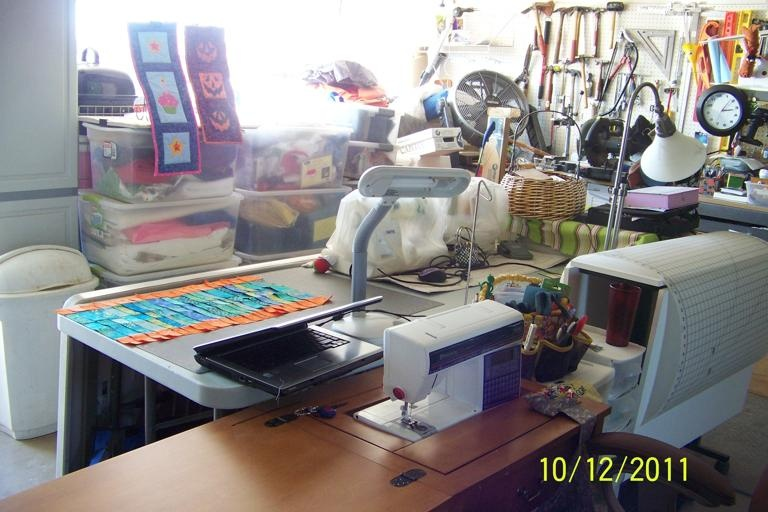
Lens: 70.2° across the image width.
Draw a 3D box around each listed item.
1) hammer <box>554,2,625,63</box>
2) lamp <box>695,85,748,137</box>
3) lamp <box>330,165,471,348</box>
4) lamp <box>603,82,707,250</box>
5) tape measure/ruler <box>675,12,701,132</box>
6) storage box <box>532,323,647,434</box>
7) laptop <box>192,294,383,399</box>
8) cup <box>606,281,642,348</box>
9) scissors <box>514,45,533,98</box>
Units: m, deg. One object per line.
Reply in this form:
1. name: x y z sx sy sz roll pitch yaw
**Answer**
1. hammer: 1.952 -2.174 5.255 0.649 0.555 0.257 8 21 24
2. lamp: 2.731 -1.169 4.378 0.395 0.374 0.094 -12 3 44
3. lamp: -0.008 -0.076 1.981 0.418 0.676 0.424 15 20 38
4. lamp: 1.191 -0.358 2.371 0.353 0.760 0.546 7 20 21
5. tape measure/ruler: 2.670 -1.612 4.793 0.146 1.024 0.113 2 -6 17
6. storage box: 0.719 0.437 2.080 0.397 0.367 0.398 -10 18 -43
7. laptop: -0.258 0.272 1.744 0.596 0.158 0.329 -15 23 -39
8. cup: 0.903 0.237 2.048 0.138 0.203 0.130 8 3 0
9. scissors: 1.464 -1.939 5.638 0.207 0.046 0.656 6 57 -12
